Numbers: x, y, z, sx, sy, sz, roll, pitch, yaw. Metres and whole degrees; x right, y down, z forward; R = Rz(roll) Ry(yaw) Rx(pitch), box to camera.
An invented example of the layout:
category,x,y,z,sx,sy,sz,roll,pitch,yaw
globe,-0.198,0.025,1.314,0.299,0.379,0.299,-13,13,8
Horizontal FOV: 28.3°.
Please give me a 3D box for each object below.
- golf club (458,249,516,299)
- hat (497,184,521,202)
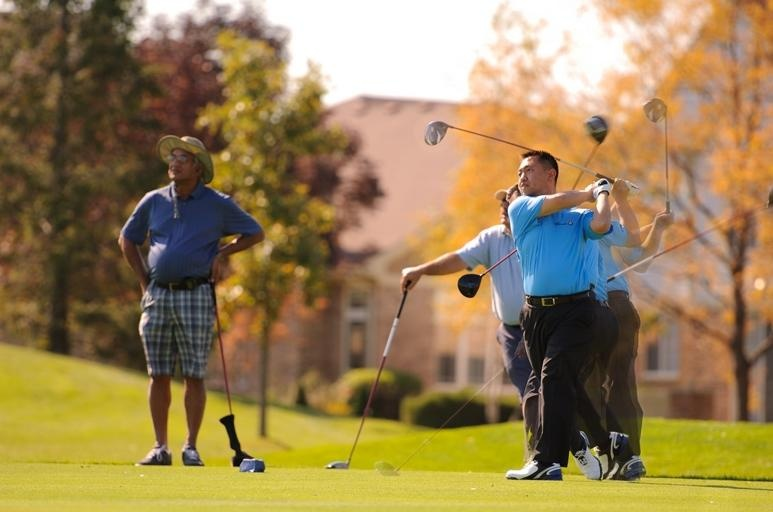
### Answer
category,x,y,z,sx,sy,sz,roll,pitch,yaw
golf club,1.292,0.227,19.914,1.024,0.241,0.133,-37,-15,-21
hat,1.530,-0.782,19.473,0.293,0.083,0.171,11,-57,5
